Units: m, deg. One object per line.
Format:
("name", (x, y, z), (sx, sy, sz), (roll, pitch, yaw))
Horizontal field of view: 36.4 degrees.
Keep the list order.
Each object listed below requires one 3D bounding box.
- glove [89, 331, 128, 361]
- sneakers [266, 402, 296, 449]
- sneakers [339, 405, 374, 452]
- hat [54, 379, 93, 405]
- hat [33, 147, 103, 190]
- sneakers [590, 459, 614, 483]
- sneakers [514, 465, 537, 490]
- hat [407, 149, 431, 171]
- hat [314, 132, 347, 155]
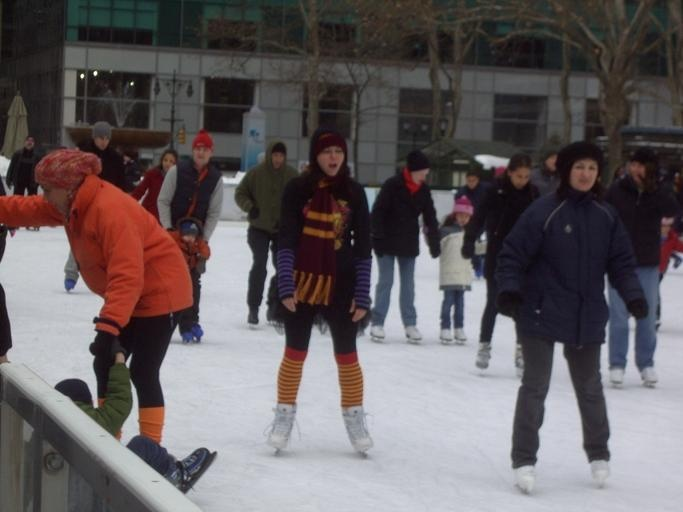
("glove", (-1.342, 0.515, 5.931), (0.167, 0.178, 0.084), (15, 38, -3))
("sneakers", (-0.422, 1.192, 7.369), (0.188, 0.338, 0.270), (2, 6, -4))
("sneakers", (0.118, 1.221, 7.365), (0.133, 0.430, 0.166), (-15, -12, -2))
("hat", (-1.523, 0.752, 5.931), (0.151, 0.195, 0.210), (9, 9, 2))
("hat", (-1.642, -0.524, 6.241), (0.397, 0.255, 0.302), (-17, 16, -16))
("sneakers", (1.725, 1.442, 6.913), (0.122, 0.155, 0.156), (4, 39, 2))
("sneakers", (1.214, 1.446, 6.833), (0.097, 0.072, 0.185), (-11, 26, 6))
("hat", (0.846, -1.020, 11.316), (0.215, 0.206, 0.228), (-14, 2, -11))
("hat", (-0.056, -0.795, 7.327), (0.255, 0.169, 0.124), (-1, 7, -33))
